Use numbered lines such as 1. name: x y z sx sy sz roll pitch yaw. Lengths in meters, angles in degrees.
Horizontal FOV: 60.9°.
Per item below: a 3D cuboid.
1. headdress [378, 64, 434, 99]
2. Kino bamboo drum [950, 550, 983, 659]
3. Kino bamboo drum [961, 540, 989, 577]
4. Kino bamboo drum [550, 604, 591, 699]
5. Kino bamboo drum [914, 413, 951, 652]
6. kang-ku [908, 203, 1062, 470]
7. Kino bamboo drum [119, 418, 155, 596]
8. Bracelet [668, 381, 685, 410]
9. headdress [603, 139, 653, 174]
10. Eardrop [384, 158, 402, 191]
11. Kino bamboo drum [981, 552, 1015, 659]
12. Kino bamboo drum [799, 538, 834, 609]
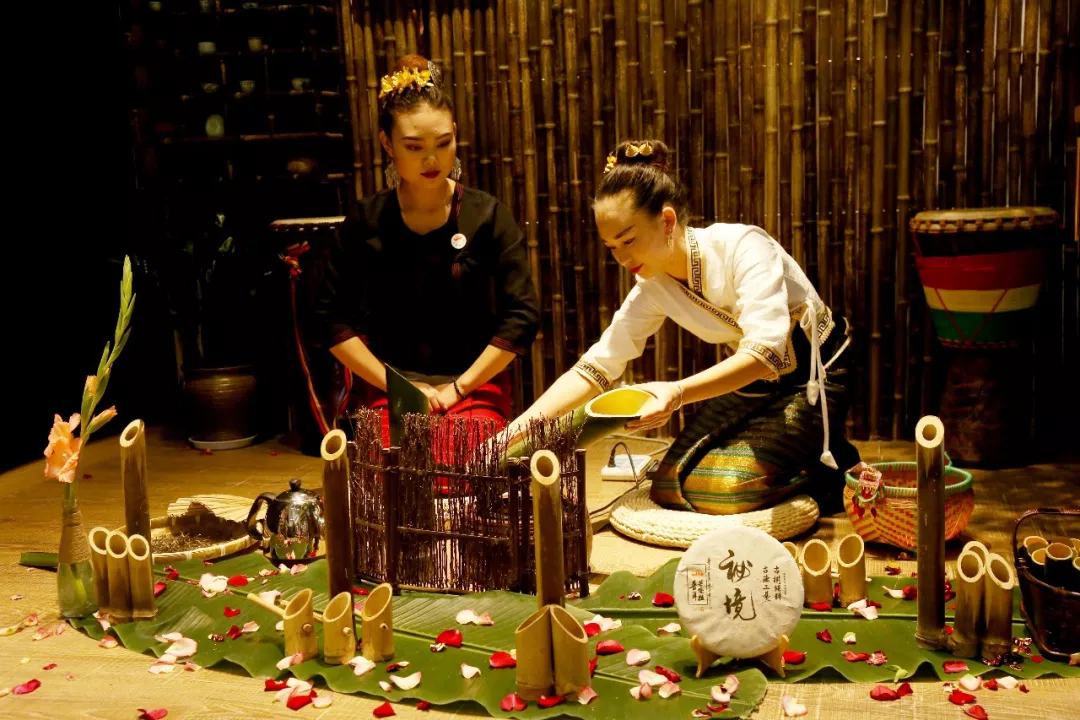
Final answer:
1. headdress: -0.542 -1.098 3.708 0.180 0.087 0.125 -15 28 11
2. Kino bamboo drum: 1.200 0.683 2.571 0.078 0.302 0.045 5 9 26
3. Kino bamboo drum: 1.226 0.555 2.609 0.067 0.044 0.071 -1 4 0
4. Kino bamboo drum: 0.078 0.781 2.475 0.113 0.244 0.051 1 8 0
5. Kino bamboo drum: 1.090 0.488 2.575 0.138 0.666 0.071 -2 9 -23
6. kang-ku: 2.153 -0.102 4.532 0.634 1.172 0.616 1 6 30
7. Kino bamboo drum: -1.299 0.497 3.042 0.156 0.597 0.152 4 13 -1
8. Bracelet: 0.461 0.131 3.204 0.065 0.078 0.086 -4 2 3
9. headdress: 0.334 -0.759 3.423 0.179 0.126 0.132 1 8 0
10. Eardrop: -0.629 -0.786 3.902 0.054 0.105 0.239 -1 8 -15
11. Kino bamboo drum: 1.284 0.685 2.571 0.073 0.301 0.126 9 11 44
12. Kino bamboo drum: 0.852 0.667 2.844 0.100 0.174 0.169 -6 33 12
